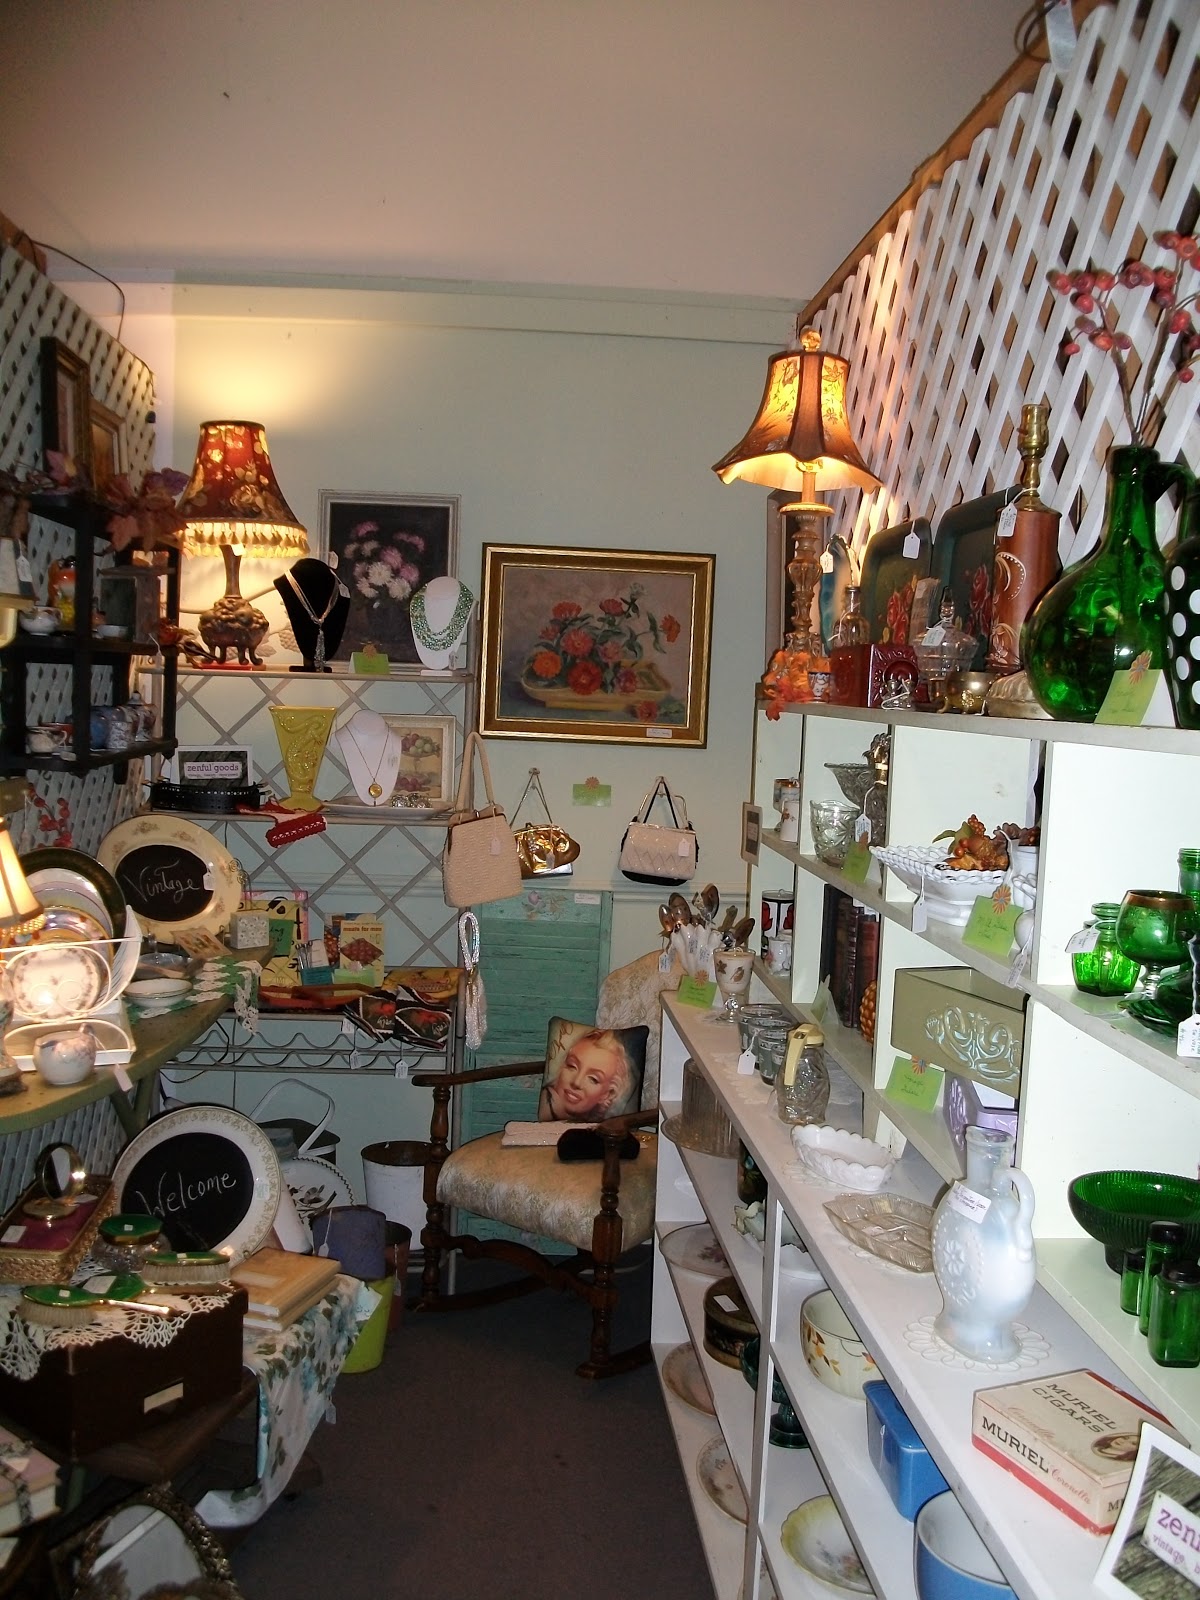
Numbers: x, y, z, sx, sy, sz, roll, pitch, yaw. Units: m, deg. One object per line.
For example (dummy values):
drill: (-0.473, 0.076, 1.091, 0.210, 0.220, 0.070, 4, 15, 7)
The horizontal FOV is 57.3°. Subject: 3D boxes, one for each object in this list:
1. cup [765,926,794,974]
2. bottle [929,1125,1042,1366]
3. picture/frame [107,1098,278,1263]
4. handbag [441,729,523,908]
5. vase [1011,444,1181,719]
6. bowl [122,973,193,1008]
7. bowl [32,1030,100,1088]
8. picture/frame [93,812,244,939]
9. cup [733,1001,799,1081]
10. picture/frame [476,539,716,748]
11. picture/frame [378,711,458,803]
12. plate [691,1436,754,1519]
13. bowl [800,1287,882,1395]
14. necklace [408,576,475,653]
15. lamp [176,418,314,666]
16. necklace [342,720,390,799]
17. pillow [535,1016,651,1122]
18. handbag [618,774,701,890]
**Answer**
cup: (0.425, 0.370, 2.653, 0.082, 0.091, 0.083, 0, 4, 0)
bottle: (0.449, 0.517, 1.298, 0.110, 0.280, 0.224, 3, 1, 19)
picture/frame: (-0.973, 0.922, 2.687, 0.348, 0.280, 0.205, 2, 1, 6)
handbag: (-0.391, 0.087, 3.659, 0.247, 0.497, 0.363, 2, 1, -8)
vase: (0.535, -0.230, 1.191, 0.161, 0.313, 0.086, 3, 1, 35)
bowl: (-1.080, 0.483, 2.698, 0.156, 0.058, 0.128, 2, 1, -34)
bowl: (-0.996, 0.485, 2.053, 0.097, 0.074, 0.095, 0, 12, 0)
picture/frame: (-1.272, 0.230, 3.258, 0.375, 0.285, 0.104, 2, 1, -12)
cup: (0.376, 0.557, 2.495, 0.124, 0.114, 0.138, 2, -2, 6)
picture/frame: (-0.039, -0.578, 3.873, 0.720, 0.621, 0.053, 1, 4, -3)
picture/frame: (-0.634, -0.133, 3.782, 0.295, 0.337, 0.025, 2, 2, -6)
plate: (0.271, 1.509, 2.440, 0.180, 0.048, 0.184, 10, 7, -7)
bowl: (0.385, 0.868, 1.783, 0.121, 0.089, 0.138, 0, -7, -7)
necklace: (-0.528, -0.608, 3.643, 0.259, 0.325, 0.148, 3, 7, 2)
lamp: (-1.148, -0.838, 3.573, 0.397, 0.637, 0.768, 2, 1, -21)
necklace: (-0.776, -0.134, 3.658, 0.193, 0.242, 0.061, -9, 5, -29)
pillow: (-0.014, 0.867, 3.514, 0.338, 0.355, 0.128, 1, -8, 15)
handbag: (0.191, 0.115, 3.875, 0.340, 0.483, 0.160, 6, 11, 5)
